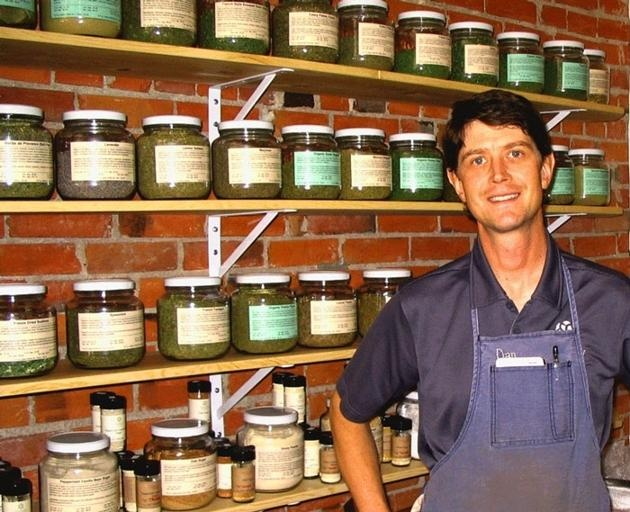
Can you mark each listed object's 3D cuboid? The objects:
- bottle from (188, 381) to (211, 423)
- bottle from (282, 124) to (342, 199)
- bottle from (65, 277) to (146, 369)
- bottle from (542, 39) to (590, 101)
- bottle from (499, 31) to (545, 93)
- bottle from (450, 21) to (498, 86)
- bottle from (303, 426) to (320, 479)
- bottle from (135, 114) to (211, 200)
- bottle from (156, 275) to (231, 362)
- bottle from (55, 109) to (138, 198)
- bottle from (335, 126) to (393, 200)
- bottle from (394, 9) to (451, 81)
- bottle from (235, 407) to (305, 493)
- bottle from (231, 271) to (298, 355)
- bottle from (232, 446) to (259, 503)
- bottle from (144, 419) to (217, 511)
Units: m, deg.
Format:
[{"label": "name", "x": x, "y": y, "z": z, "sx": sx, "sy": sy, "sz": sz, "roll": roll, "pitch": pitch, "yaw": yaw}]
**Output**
[{"label": "bottle", "x": -0.285, "y": 0.376, "z": 1.555, "sx": 0.073, "sy": 0.096, "sz": 0.069, "roll": -2, "pitch": -10, "yaw": 0}, {"label": "bottle", "x": -0.026, "y": -0.241, "z": 1.566, "sx": 0.178, "sy": 0.156, "sz": 0.167, "roll": -8, "pitch": 13, "yaw": -41}, {"label": "bottle", "x": -0.474, "y": 0.151, "z": 1.403, "sx": 0.177, "sy": 0.169, "sz": 0.184, "roll": 1, "pitch": 2, "yaw": 42}, {"label": "bottle", "x": 0.773, "y": -0.567, "z": 1.917, "sx": 0.155, "sy": 0.164, "sz": 0.203, "roll": -2, "pitch": -5, "yaw": 27}, {"label": "bottle", "x": 0.609, "y": -0.584, "z": 1.832, "sx": 0.161, "sy": 0.148, "sz": 0.153, "roll": 3, "pitch": 20, "yaw": 18}, {"label": "bottle", "x": 0.447, "y": -0.589, "z": 1.768, "sx": 0.171, "sy": 0.153, "sz": 0.153, "roll": 5, "pitch": 20, "yaw": 21}, {"label": "bottle", "x": -0.010, "y": 0.509, "z": 1.563, "sx": 0.048, "sy": 0.120, "sz": 0.029, "roll": -4, "pitch": -1, "yaw": -3}, {"label": "bottle", "x": -0.328, "y": -0.232, "z": 1.424, "sx": 0.189, "sy": 0.163, "sz": 0.163, "roll": -1, "pitch": 11, "yaw": -5}, {"label": "bottle", "x": -0.290, "y": 0.149, "z": 1.482, "sx": 0.198, "sy": 0.172, "sz": 0.176, "roll": -1, "pitch": 0, "yaw": 1}, {"label": "bottle", "x": -0.477, "y": -0.227, "z": 1.369, "sx": 0.198, "sy": 0.172, "sz": 0.171, "roll": -4, "pitch": 12, "yaw": -25}, {"label": "bottle", "x": 0.115, "y": -0.248, "z": 1.629, "sx": 0.188, "sy": 0.164, "sz": 0.166, "roll": -2, "pitch": 9, "yaw": -5}, {"label": "bottle", "x": 0.312, "y": -0.593, "z": 1.706, "sx": 0.180, "sy": 0.147, "sz": 0.160, "roll": -4, "pitch": 23, "yaw": 1}, {"label": "bottle", "x": -0.141, "y": 0.491, "z": 1.539, "sx": 0.210, "sy": 0.172, "sz": 0.189, "roll": 3, "pitch": -8, "yaw": 7}, {"label": "bottle", "x": -0.142, "y": 0.144, "z": 1.556, "sx": 0.190, "sy": 0.171, "sz": 0.178, "roll": 0, "pitch": -2, "yaw": -42}, {"label": "bottle", "x": -0.165, "y": 0.512, "z": 1.429, "sx": 0.061, "sy": 0.117, "sz": 0.056, "roll": -4, "pitch": -1, "yaw": 0}, {"label": "bottle", "x": -0.269, "y": 0.471, "z": 1.414, "sx": 0.215, "sy": 0.181, "sz": 0.181, "roll": 0, "pitch": -2, "yaw": -6}]
